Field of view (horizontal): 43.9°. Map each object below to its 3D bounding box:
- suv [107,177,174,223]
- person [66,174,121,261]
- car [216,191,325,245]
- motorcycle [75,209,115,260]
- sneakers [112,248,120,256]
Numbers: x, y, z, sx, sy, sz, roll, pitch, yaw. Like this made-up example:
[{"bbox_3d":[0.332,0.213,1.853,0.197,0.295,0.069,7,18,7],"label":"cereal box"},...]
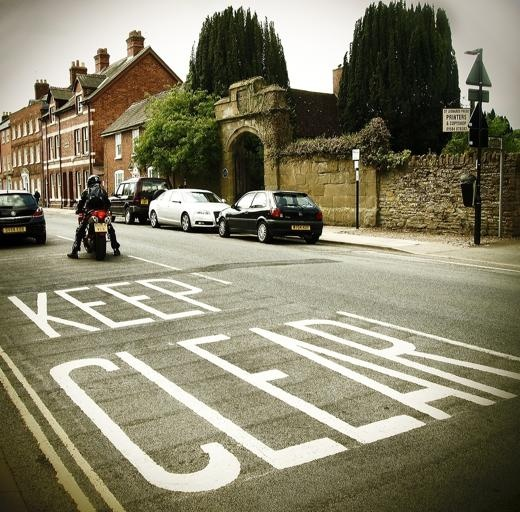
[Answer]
[{"bbox_3d":[-5.322,-2.467,27.923,1.489,2.015,3.805,-2,9,-23],"label":"suv"},{"bbox_3d":[-3.628,-0.767,13.896,0.701,1.477,2.135,2,10,-26],"label":"person"},{"bbox_3d":[0.215,-1.131,18.411,1.276,1.314,2.617,-2,10,-29],"label":"car"},{"bbox_3d":[-3.429,-0.458,13.556,0.517,1.051,1.084,-2,6,-20],"label":"motorcycle"},{"bbox_3d":[-3.187,-0.086,14.378,0.166,0.233,0.125,-1,2,30],"label":"sneakers"}]
